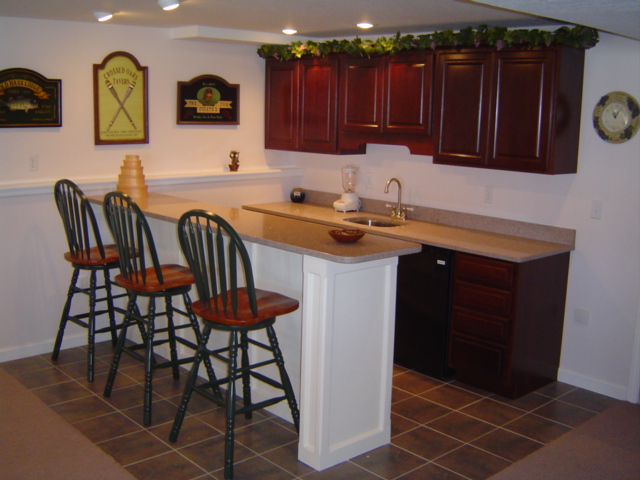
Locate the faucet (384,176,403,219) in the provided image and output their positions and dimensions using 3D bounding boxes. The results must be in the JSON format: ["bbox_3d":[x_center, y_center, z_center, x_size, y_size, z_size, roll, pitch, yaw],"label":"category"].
[{"bbox_3d":[0.706,-0.400,4.907,0.187,0.379,0.463,3,12,7],"label":"faucet"}]

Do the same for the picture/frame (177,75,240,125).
[{"bbox_3d":[-1.136,-1.400,5.165,0.536,0.403,0.039,-8,17,-32],"label":"picture/frame"}]

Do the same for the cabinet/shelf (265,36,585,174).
[{"bbox_3d":[0.768,-1.152,4.516,2.693,0.947,0.530,9,14,32],"label":"cabinet/shelf"}]

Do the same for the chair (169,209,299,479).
[{"bbox_3d":[-0.573,0.495,3.200,0.738,1.433,0.918,-9,16,-40],"label":"chair"}]

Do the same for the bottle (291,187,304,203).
[{"bbox_3d":[-0.238,-0.501,5.724,0.169,0.154,0.143,-1,12,-11],"label":"bottle"}]
